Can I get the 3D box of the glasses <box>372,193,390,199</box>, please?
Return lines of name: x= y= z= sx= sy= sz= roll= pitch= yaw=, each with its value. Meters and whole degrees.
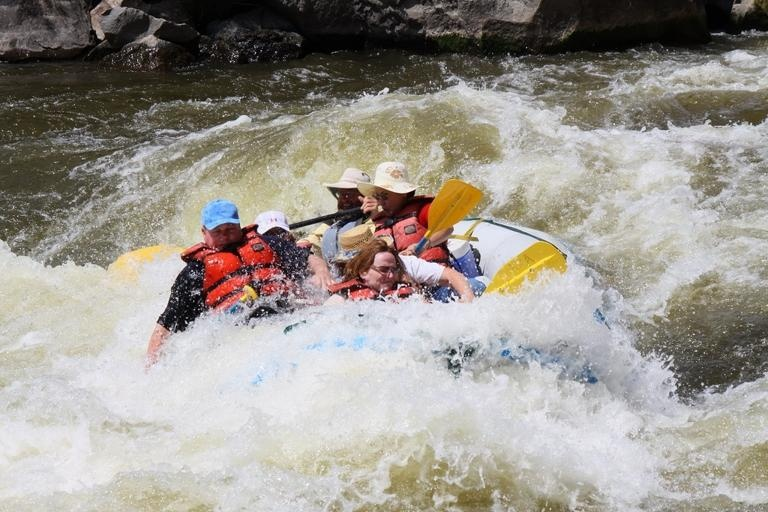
glasses: x=0.008 y=-0.649 z=9.794 sx=0.097 sy=0.102 sz=0.028 roll=-4 pitch=77 yaw=43

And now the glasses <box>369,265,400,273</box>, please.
glasses: x=0.028 y=0.142 z=8.832 sx=0.261 sy=0.106 sz=0.059 roll=-6 pitch=59 yaw=0

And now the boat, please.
boat: x=0.186 y=0.693 z=9.497 sx=3.417 sy=0.462 sz=1.807 roll=-11 pitch=21 yaw=-9

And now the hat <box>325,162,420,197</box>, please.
hat: x=-0.096 y=-0.820 z=9.940 sx=0.673 sy=0.539 sz=0.187 roll=-10 pitch=78 yaw=31

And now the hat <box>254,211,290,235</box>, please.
hat: x=-1.231 y=-0.356 z=9.950 sx=0.368 sy=0.541 sz=0.191 roll=-2 pitch=93 yaw=-11

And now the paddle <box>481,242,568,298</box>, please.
paddle: x=1.463 y=0.133 z=9.280 sx=0.860 sy=0.199 sz=0.403 roll=-28 pitch=58 yaw=-24

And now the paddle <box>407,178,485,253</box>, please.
paddle: x=0.557 y=-0.288 z=9.694 sx=0.431 sy=1.230 sz=0.168 roll=24 pitch=43 yaw=-18

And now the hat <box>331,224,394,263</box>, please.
hat: x=-0.243 y=-0.095 z=9.480 sx=0.461 sy=0.135 sz=0.469 roll=-38 pitch=21 yaw=-35
